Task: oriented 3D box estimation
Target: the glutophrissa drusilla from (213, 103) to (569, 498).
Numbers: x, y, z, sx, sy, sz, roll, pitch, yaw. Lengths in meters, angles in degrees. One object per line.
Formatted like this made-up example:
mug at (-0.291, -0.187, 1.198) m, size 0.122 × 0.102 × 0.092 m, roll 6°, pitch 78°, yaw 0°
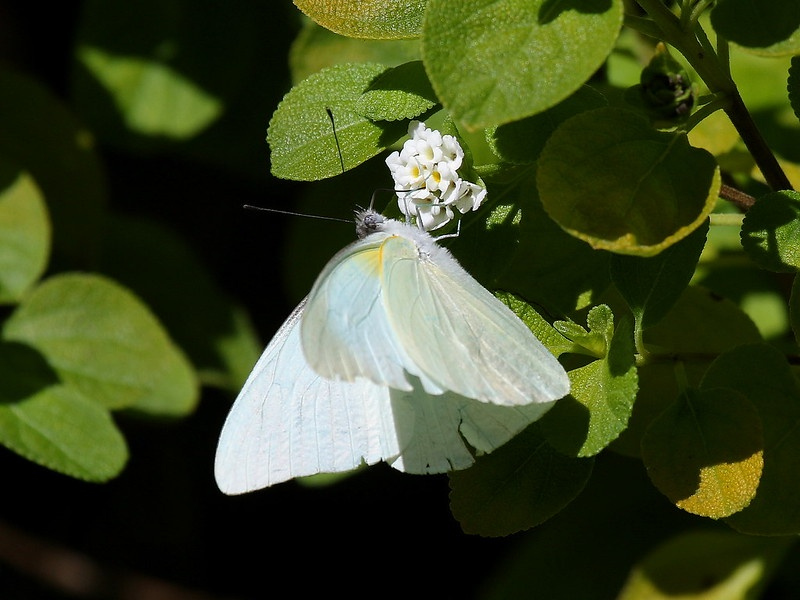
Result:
glutophrissa drusilla at (0.001, 0.143, 1.603) m, size 0.571 × 0.661 × 0.257 m, roll 25°, pitch 19°, yaw 16°

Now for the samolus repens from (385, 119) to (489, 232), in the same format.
samolus repens at (0.057, -0.198, 1.517) m, size 0.180 × 0.162 × 0.040 m, roll 26°, pitch 19°, yaw 17°
